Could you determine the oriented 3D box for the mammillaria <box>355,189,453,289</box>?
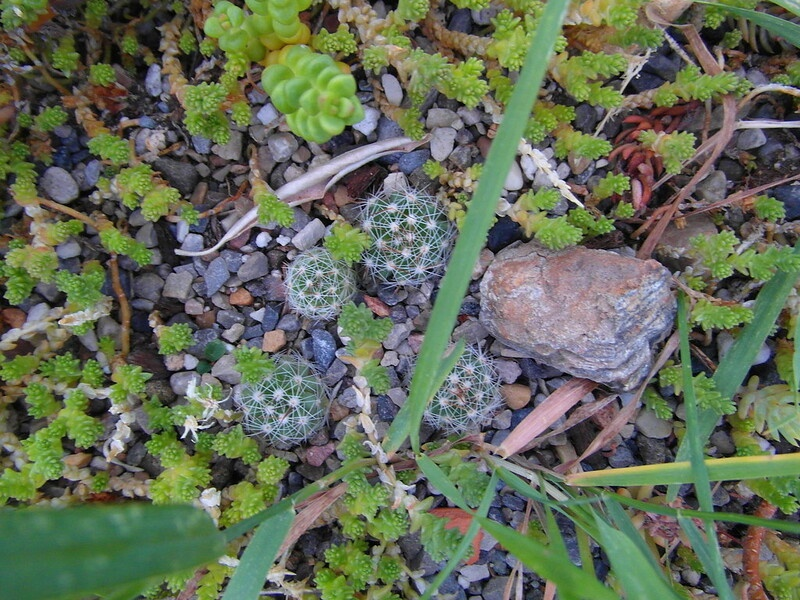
[{"bbox_3d":[0.024,-0.272,2.767,0.427,0.139,0.398,-1,101,-3],"label":"mammillaria"}]

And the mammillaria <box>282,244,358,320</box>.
[{"bbox_3d":[-0.326,-0.072,2.755,0.299,0.296,0.204,15,77,-30],"label":"mammillaria"}]

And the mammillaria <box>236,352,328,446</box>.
[{"bbox_3d":[-0.502,0.447,2.741,0.383,0.173,0.373,-40,84,-3],"label":"mammillaria"}]

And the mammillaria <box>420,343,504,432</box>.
[{"bbox_3d":[0.278,0.400,2.754,0.327,0.129,0.348,-21,36,1],"label":"mammillaria"}]
